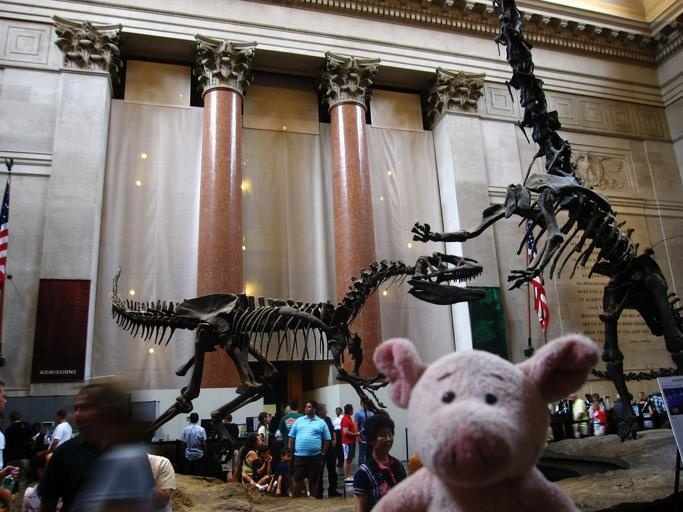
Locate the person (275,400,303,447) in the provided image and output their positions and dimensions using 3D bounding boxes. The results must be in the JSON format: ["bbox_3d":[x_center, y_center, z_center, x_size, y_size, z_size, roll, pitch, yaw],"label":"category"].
[{"bbox_3d":[-0.784,2.761,8.493,0.378,1.007,0.262,1,12,-11],"label":"person"}]

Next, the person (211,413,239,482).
[{"bbox_3d":[-1.466,2.506,6.849,0.294,0.949,0.296,-5,-1,-8],"label":"person"}]

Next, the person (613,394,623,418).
[{"bbox_3d":[4.536,2.472,8.825,0.113,0.315,0.950,-6,-11,23],"label":"person"}]

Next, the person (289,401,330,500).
[{"bbox_3d":[-0.449,2.569,7.125,0.560,1.225,0.466,-3,-10,6],"label":"person"}]
